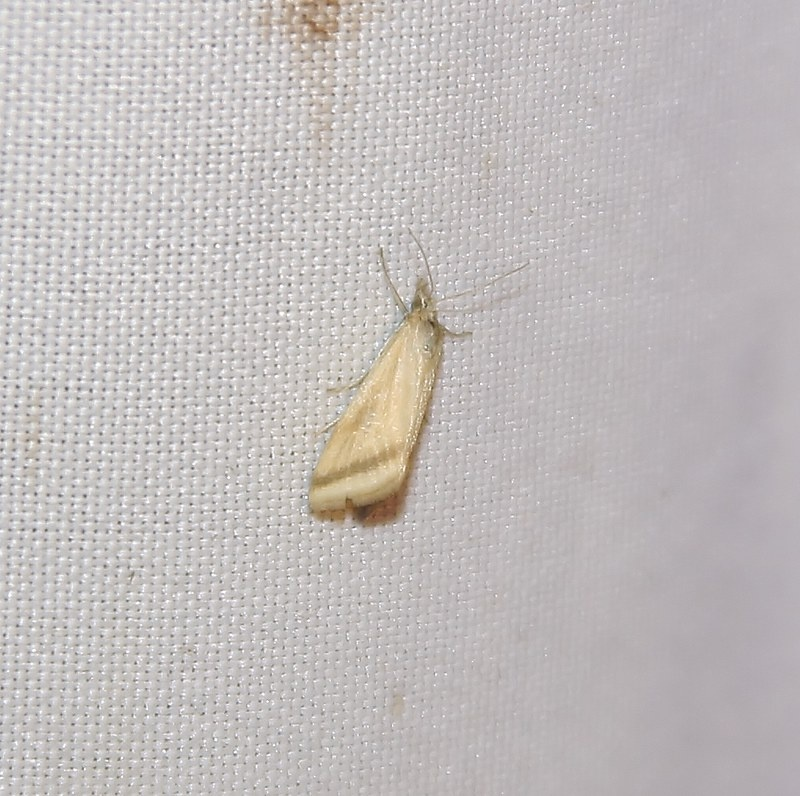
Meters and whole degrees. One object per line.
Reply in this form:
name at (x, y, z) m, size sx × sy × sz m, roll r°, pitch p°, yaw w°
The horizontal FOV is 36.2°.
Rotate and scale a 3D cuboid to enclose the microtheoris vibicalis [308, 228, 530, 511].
microtheoris vibicalis at (0.014, -0.036, 1.573) m, size 0.152 × 0.245 × 0.343 m, roll 23°, pitch -57°, yaw -36°
